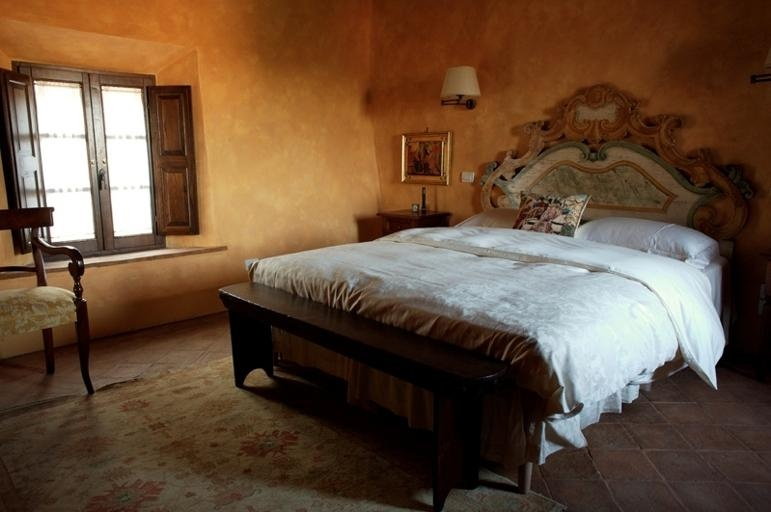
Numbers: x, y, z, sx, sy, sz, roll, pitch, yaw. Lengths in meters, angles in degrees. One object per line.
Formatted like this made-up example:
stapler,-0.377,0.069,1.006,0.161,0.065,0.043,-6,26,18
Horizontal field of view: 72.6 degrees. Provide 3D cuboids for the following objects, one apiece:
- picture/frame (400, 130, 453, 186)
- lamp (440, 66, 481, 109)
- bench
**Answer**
picture/frame,0.468,-1.144,6.154,0.697,0.593,0.055,10,17,39
lamp,0.777,-1.775,5.555,0.437,0.401,0.417,-1,15,-3
bench,-0.274,0.853,3.573,2.211,1.043,0.407,7,15,38
